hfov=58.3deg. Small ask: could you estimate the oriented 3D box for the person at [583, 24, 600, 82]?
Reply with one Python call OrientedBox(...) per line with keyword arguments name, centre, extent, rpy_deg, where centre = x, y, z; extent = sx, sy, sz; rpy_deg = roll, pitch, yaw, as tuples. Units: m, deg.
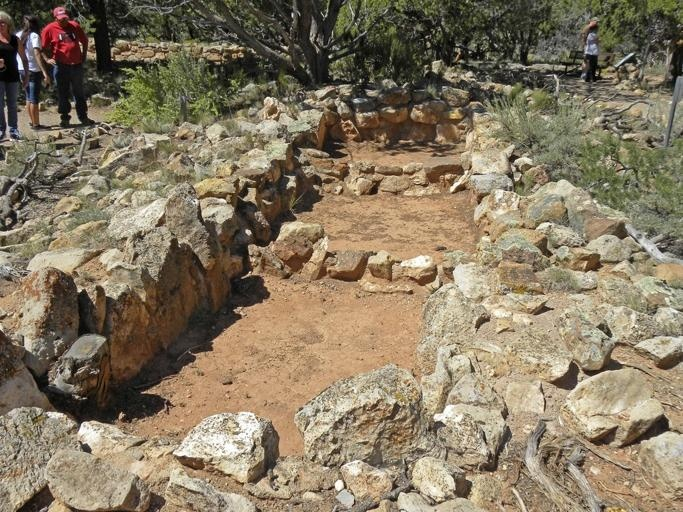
OrientedBox(name="person", centre=(6.214, -5.085, 15.232), extent=(0.385, 1.479, 0.774), rpy_deg=(7, 22, 21))
